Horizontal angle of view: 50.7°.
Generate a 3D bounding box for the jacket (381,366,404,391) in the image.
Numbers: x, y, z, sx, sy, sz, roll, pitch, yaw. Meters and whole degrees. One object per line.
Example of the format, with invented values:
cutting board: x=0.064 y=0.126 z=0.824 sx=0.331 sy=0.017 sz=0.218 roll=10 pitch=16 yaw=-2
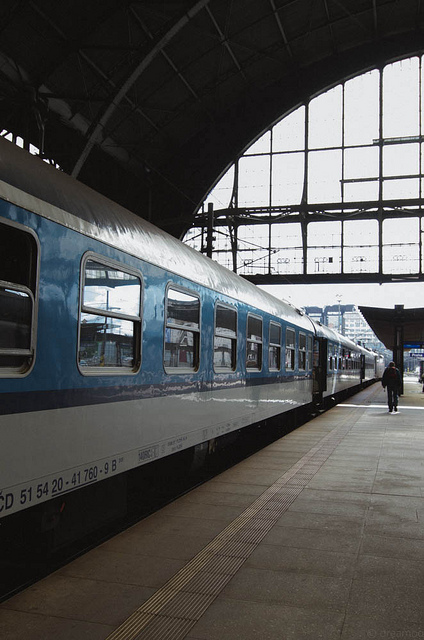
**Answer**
jacket: x=6.721 y=2.161 z=16.812 sx=0.512 sy=0.859 sz=0.911 roll=-5 pitch=-10 yaw=36
